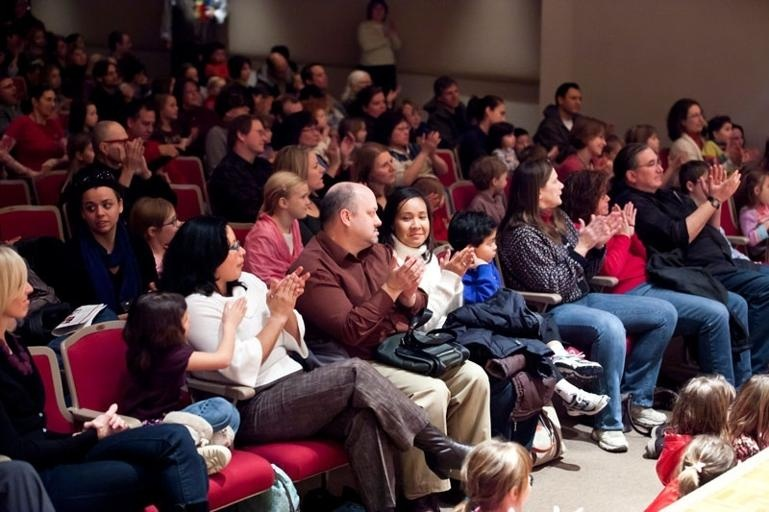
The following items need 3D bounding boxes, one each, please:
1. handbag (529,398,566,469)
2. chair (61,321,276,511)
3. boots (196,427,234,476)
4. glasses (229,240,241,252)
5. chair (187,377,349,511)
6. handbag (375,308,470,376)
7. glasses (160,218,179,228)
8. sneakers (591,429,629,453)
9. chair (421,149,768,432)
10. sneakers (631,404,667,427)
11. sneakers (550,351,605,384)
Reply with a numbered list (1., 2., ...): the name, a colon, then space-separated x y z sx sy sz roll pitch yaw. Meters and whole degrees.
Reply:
1. handbag: 0.966 1.042 3.515 0.140 0.305 0.387 8 12 28
2. chair: -0.752 0.596 2.602 0.949 0.761 0.686 2 6 35
3. boots: -0.678 0.773 2.380 0.161 0.055 0.112 -31 16 0
4. glasses: -0.704 -0.047 2.826 0.064 0.068 0.020 -5 -11 -1
5. chair: -0.532 0.821 2.692 0.480 0.683 0.623 -9 -1 9
6. handbag: 0.224 0.419 3.124 0.492 0.304 0.438 0 13 -29
7. glasses: -1.350 -0.224 3.838 0.064 0.067 0.232 1 10 -5
8. sneakers: 1.364 1.119 3.667 0.096 0.090 0.205 0 -1 -38
9. chair: 1.706 0.218 5.011 2.048 2.678 1.537 -7 0 25
10. sneakers: 1.691 1.031 3.896 0.208 0.125 0.113 9 13 33
11. sneakers: 1.101 0.645 3.475 0.326 0.123 0.169 15 -12 38
